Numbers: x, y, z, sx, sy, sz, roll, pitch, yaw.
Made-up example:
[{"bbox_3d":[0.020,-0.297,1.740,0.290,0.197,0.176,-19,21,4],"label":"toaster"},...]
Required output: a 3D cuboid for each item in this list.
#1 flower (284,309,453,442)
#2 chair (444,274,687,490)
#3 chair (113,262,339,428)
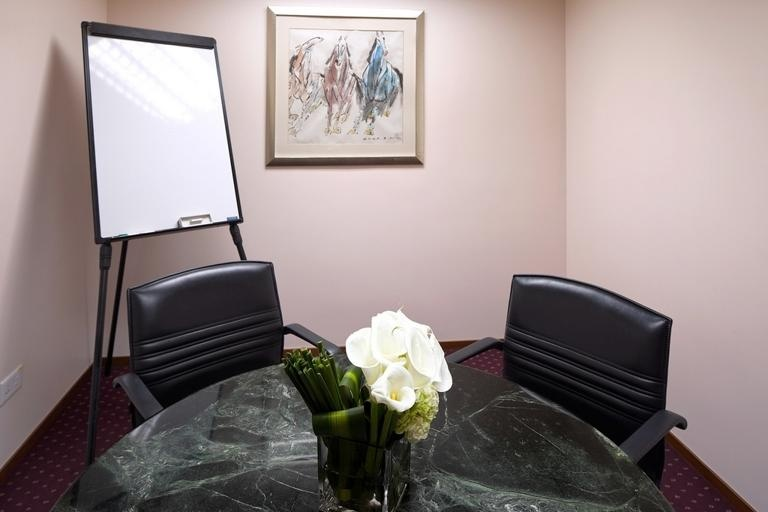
[{"bbox_3d":[-0.059,0.289,1.692,0.442,0.452,0.450,-3,12,-4],"label":"flower"},{"bbox_3d":[1.040,0.277,2.540,0.922,1.146,0.964,-11,16,-38],"label":"chair"},{"bbox_3d":[-0.884,0.285,2.781,0.928,1.111,0.878,-10,11,-32],"label":"chair"}]
